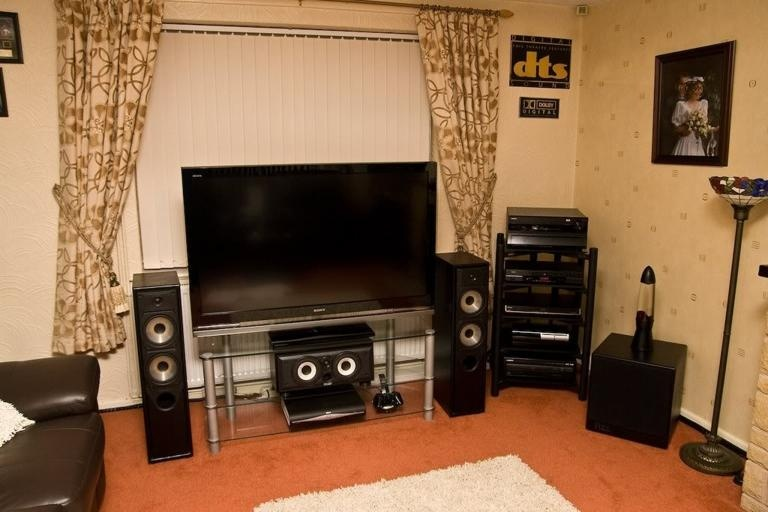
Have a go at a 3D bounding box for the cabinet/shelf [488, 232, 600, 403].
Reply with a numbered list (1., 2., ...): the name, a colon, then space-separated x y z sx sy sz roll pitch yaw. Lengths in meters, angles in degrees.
1. cabinet/shelf: 1.369 0.461 4.917 0.812 1.372 0.765 2 10 13

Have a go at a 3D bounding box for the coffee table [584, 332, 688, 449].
1. coffee table: 1.969 1.000 4.470 0.678 0.756 0.726 7 16 28

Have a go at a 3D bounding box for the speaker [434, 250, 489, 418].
1. speaker: 0.611 0.631 4.581 0.375 1.250 0.374 -4 10 -15

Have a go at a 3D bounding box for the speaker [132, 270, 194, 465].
1. speaker: -1.606 0.800 4.064 0.309 1.288 0.368 -6 11 -26

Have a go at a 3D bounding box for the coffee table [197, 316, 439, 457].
1. coffee table: -0.564 1.117 4.709 1.811 0.960 0.837 -1 -7 -22

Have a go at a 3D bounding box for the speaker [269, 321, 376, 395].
1. speaker: -0.480 0.773 4.508 0.748 0.511 0.413 -5 26 -9

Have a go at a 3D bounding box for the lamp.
1. lamp: 2.323 0.486 3.853 0.429 2.025 0.352 1 10 7
